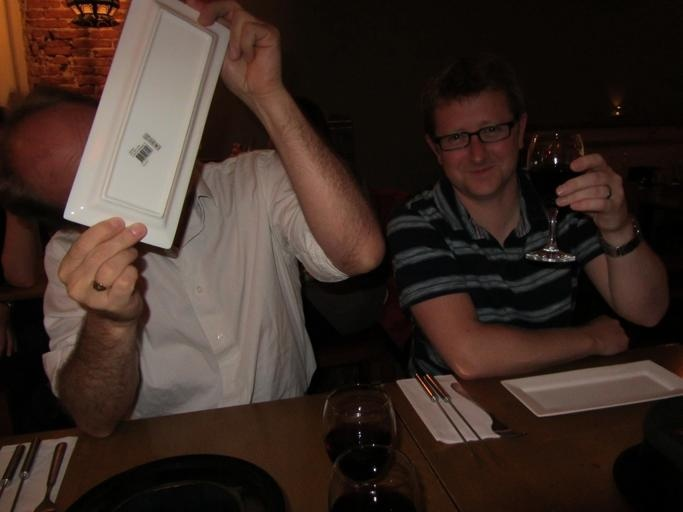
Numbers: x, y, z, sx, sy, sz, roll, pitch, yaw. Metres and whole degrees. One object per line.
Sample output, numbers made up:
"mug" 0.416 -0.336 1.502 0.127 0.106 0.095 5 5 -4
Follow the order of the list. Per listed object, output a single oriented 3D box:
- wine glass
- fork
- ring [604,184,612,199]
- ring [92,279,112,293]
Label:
"wine glass" 0.645 -0.144 1.568 0.151 0.474 0.360 4 24 24
"fork" 0.318 0.340 1.161 0.049 0.014 0.160 -5 20 -17
"ring" 0.732 -0.170 1.403 0.008 0.029 0.029 5 68 18
"ring" -0.511 0.065 1.066 0.022 0.014 0.027 -1 -22 -11
